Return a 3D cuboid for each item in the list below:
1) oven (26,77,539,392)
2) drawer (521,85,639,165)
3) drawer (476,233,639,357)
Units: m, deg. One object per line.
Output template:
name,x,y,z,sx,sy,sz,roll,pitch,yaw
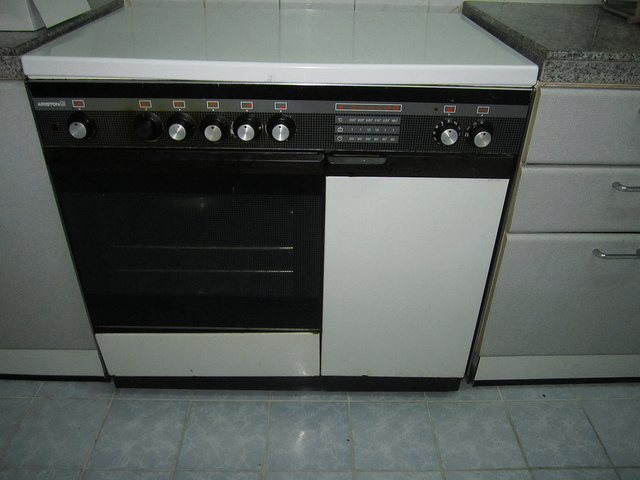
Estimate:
oven,-0.113,-0.047,1.584,0.853,0.719,0.326,1,40,1
drawer,0.753,-0.297,1.593,0.349,0.214,0.192,3,71,2
drawer,0.786,0.186,1.810,0.533,0.500,0.381,0,52,5
